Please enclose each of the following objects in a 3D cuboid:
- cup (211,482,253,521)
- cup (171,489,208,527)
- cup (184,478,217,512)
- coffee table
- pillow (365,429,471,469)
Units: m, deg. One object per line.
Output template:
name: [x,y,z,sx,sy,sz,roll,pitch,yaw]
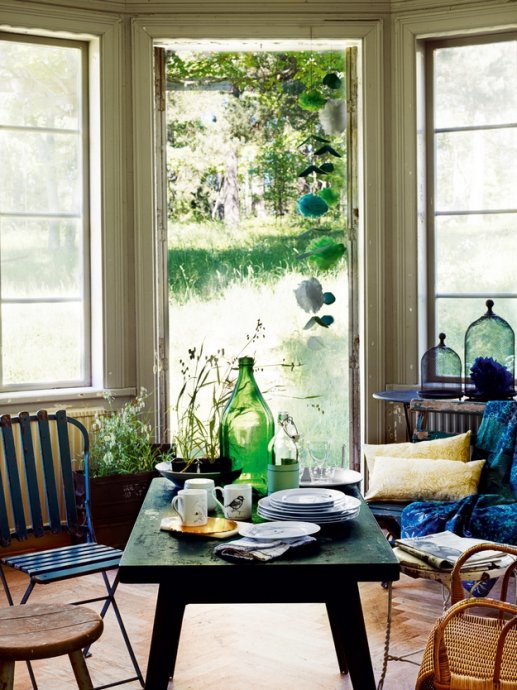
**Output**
cup: [-0.058,0.368,1.446,0.112,0.080,0.068,-1,3,4]
cup: [-0.143,0.347,1.299,0.056,0.064,0.090,2,3,29]
cup: [-0.137,0.360,1.477,0.062,0.080,0.094,-1,3,-3]
coffee table: [0.897,0.385,3.593,0.371,0.359,0.326,-2,-1,-1]
pillow: [0.810,0.525,3.065,0.399,0.102,0.226,-8,44,21]
